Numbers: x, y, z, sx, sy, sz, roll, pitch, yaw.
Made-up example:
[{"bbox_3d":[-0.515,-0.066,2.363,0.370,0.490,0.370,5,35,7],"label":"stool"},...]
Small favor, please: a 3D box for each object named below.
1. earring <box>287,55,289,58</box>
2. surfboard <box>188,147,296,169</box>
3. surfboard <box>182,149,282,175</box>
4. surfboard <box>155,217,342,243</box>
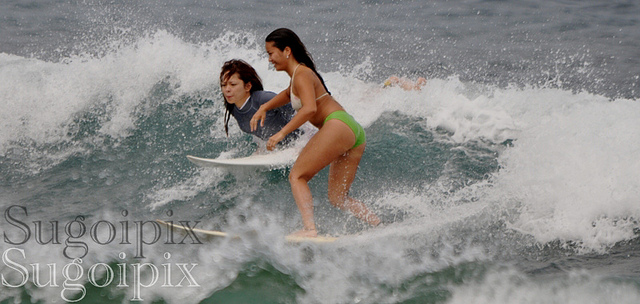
[{"bbox_3d":[-0.552,-1.637,10.670,0.028,0.032,0.008,-8,21,5],"label":"earring"},{"bbox_3d":[-1.338,0.125,11.327,2.596,0.236,0.260,-3,21,-10],"label":"surfboard"},{"bbox_3d":[-1.539,0.202,11.330,2.745,0.271,0.248,3,-36,5],"label":"surfboard"},{"bbox_3d":[-1.252,1.362,10.717,3.338,0.233,0.280,2,-41,2],"label":"surfboard"}]
